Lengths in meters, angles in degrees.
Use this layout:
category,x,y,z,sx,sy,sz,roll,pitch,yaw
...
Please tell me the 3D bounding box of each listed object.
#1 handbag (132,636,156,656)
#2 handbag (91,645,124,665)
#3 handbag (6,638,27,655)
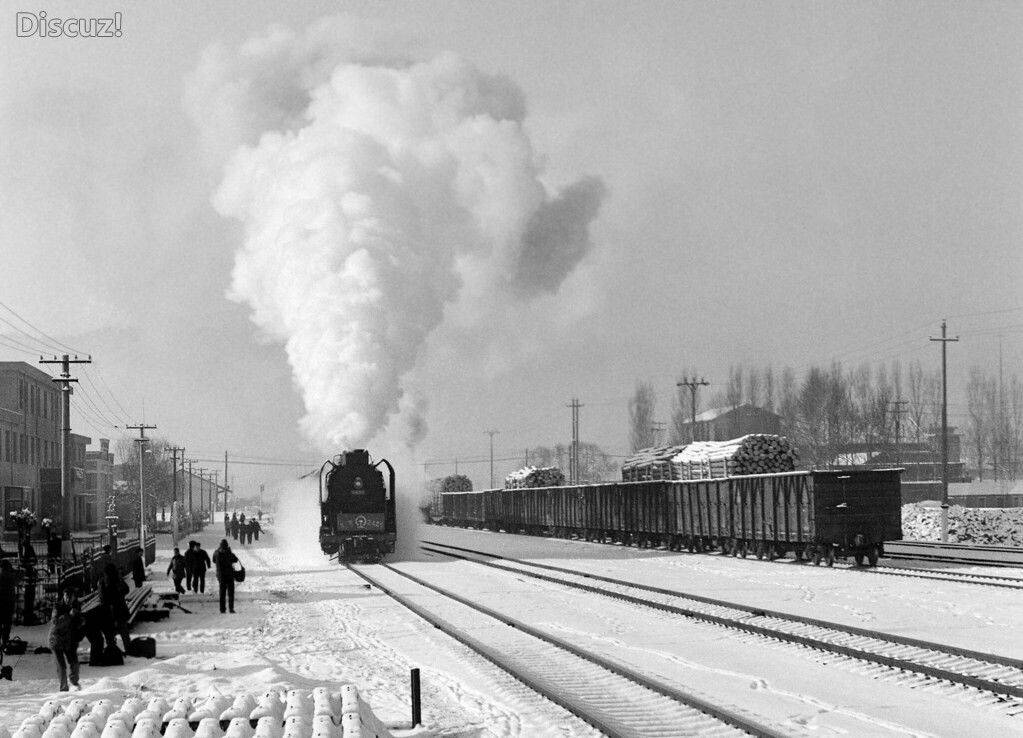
category,x,y,z,sx,sy,sz,roll,pitch,yaw
handbag,-7.011,5.326,20.547,0.350,0.378,0.109,2,-19,16
handbag,-7.499,5.299,19.808,0.391,0.334,0.425,5,-12,-14
handbag,-9.899,5.520,21.428,0.232,0.368,0.332,1,-1,38
